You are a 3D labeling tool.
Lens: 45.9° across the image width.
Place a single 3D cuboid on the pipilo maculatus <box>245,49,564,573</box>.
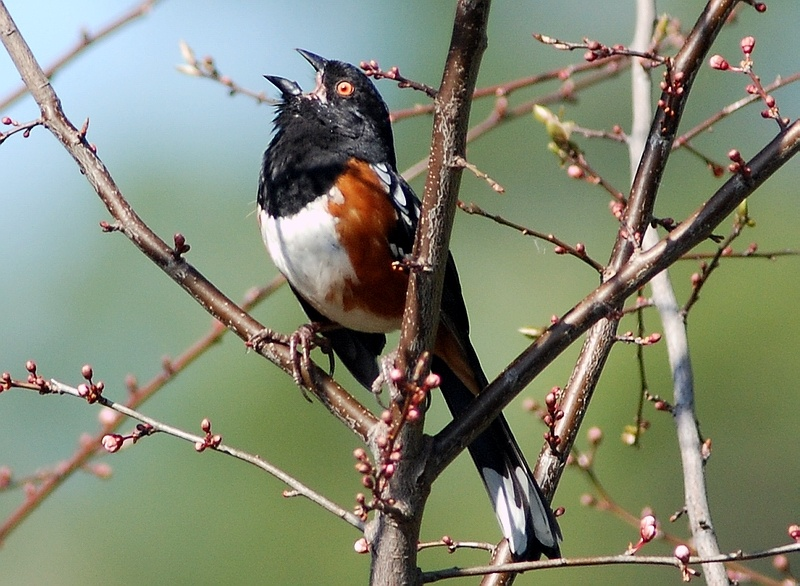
[{"bbox_3d":[0.016,0.080,3.755,1.050,2.137,2.389,3,-72,2],"label":"pipilo maculatus"}]
